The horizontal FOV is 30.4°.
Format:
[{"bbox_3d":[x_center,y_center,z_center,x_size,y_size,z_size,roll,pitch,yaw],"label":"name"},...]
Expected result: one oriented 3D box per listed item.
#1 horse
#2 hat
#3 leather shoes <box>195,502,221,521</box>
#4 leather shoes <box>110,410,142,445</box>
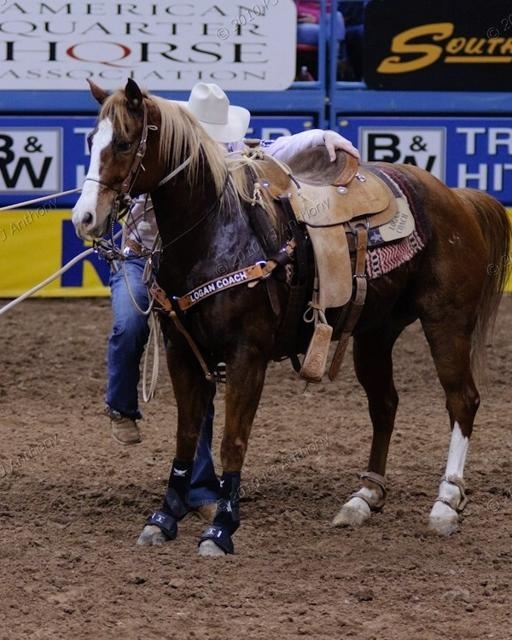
[{"bbox_3d":[0.199,-0.009,3.792,1.974,1.767,0.654,-4,12,-23],"label":"horse"},{"bbox_3d":[-0.168,-0.859,3.871,0.275,0.127,0.303,-22,59,-20],"label":"hat"},{"bbox_3d":[-0.209,0.819,4.012,0.091,0.052,0.159,3,8,7],"label":"leather shoes"},{"bbox_3d":[-0.559,0.464,4.044,0.090,0.077,0.200,-3,14,-38],"label":"leather shoes"}]
